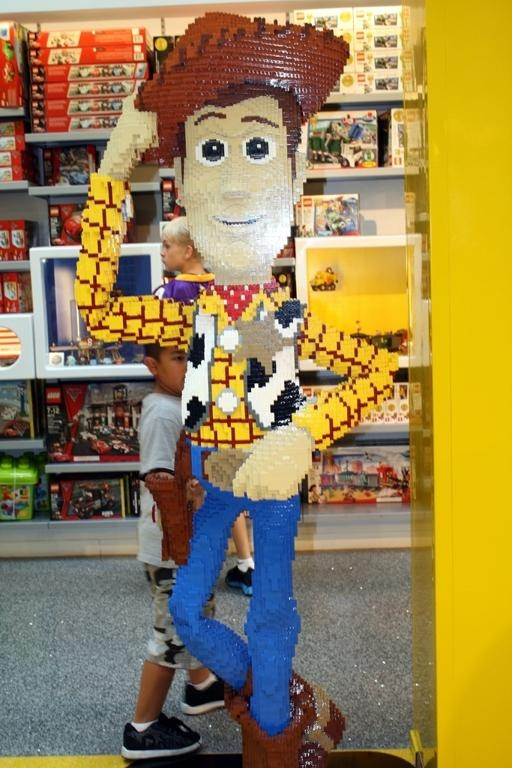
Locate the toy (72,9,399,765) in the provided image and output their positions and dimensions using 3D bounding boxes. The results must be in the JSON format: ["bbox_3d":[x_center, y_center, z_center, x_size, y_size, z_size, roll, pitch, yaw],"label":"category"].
[{"bbox_3d":[-0.039,0.060,1.449,0.540,1.396,0.338,0,4,27],"label":"toy"}]

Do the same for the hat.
[{"bbox_3d":[-0.019,-0.486,1.405,0.263,0.150,0.297,4,6,2],"label":"hat"}]

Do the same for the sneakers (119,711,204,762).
[{"bbox_3d":[-0.203,0.737,1.655,0.175,0.100,0.066,1,-9,-16],"label":"sneakers"}]
